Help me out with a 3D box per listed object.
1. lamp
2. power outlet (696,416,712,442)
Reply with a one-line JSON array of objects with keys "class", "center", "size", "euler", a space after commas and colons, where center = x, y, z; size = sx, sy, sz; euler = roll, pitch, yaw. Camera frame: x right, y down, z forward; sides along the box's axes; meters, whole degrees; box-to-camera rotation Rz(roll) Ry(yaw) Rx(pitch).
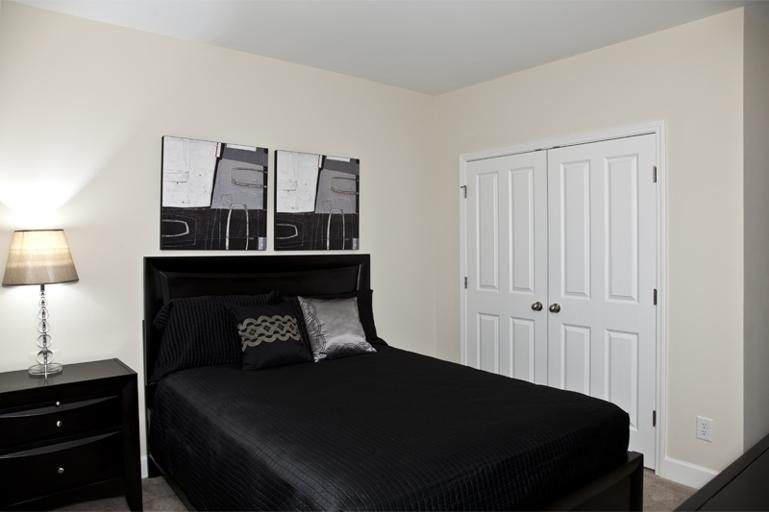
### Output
[{"class": "lamp", "center": [-2.391, 0.312, 3.817], "size": [0.482, 1.120, 0.327], "euler": [1, 0, -24]}, {"class": "power outlet", "center": [2.351, 1.276, 4.078], "size": [0.103, 0.124, 0.016], "euler": [0, 0, 33]}]
